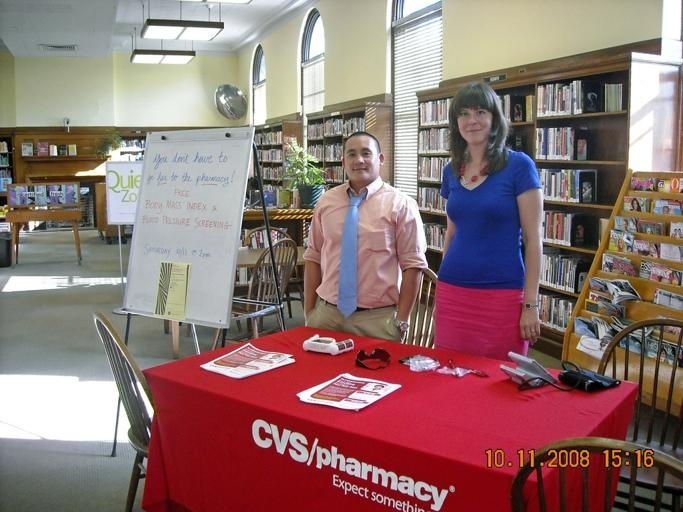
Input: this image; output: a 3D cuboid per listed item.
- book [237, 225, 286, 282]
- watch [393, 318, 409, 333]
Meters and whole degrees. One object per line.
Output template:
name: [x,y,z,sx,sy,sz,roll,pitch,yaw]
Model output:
book: [-0.970,-0.070,5.726,0.631,0.913,0.600,-1,0,2]
watch: [0.306,0.352,2.533,0.053,0.045,0.075,1,-2,-5]
